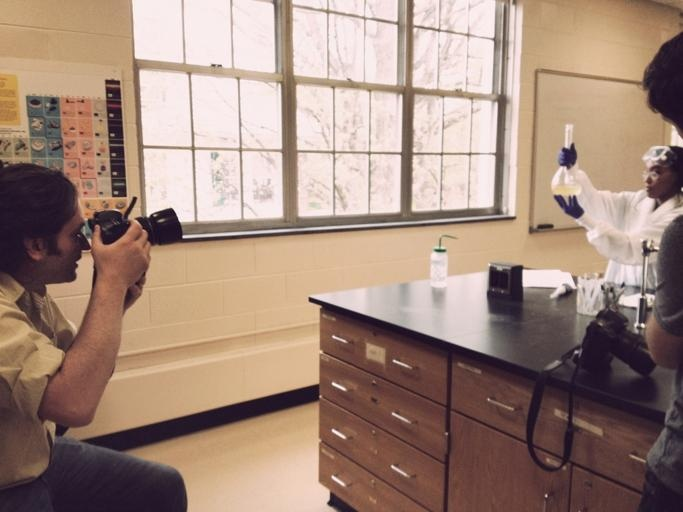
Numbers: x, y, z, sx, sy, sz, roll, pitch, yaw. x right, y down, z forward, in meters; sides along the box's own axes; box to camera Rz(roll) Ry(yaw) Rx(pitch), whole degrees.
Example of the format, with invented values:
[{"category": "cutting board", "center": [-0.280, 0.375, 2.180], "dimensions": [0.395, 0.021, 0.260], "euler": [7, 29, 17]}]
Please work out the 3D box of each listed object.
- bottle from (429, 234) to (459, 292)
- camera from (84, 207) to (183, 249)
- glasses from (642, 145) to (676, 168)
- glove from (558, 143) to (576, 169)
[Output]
[{"category": "bottle", "center": [0.519, 0.011, 3.046], "dimensions": [0.086, 0.239, 0.379], "euler": [4, 13, 11]}, {"category": "camera", "center": [-0.657, -0.117, 1.892], "dimensions": [0.188, 0.116, 0.168], "euler": [-4, 0, 18]}, {"category": "glasses", "center": [1.554, -0.487, 2.841], "dimensions": [0.123, 0.055, 0.098], "euler": [-4, 16, -14]}, {"category": "glove", "center": [1.225, -0.533, 3.107], "dimensions": [0.061, 0.138, 0.104], "euler": [-5, 0, 3]}]
